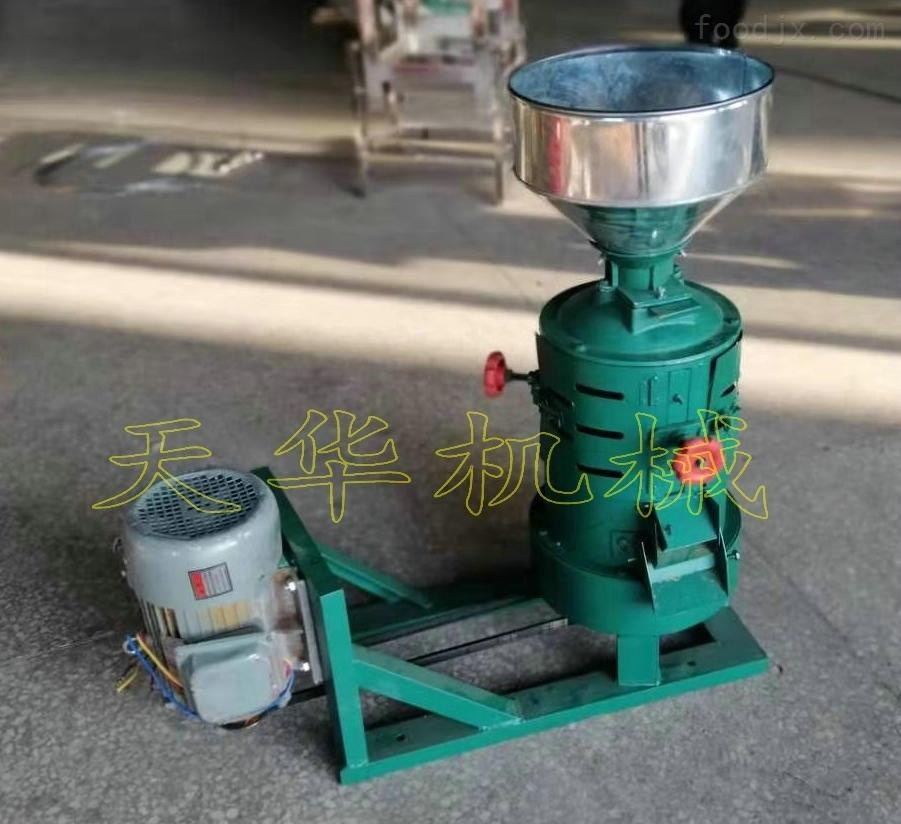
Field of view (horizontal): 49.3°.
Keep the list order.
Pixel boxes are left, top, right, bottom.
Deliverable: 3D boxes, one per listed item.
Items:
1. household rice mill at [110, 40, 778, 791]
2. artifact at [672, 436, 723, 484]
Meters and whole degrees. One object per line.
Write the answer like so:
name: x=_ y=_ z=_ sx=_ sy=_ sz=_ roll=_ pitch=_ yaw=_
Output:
household rice mill: x=0.054 y=0.060 z=2.814 sx=1.776 sy=1.962 sz=0.746 roll=-10 pitch=33 yaw=-9
artifact: x=0.679 y=0.129 z=2.697 sx=0.151 sy=0.120 sz=0.067 roll=-14 pitch=33 yaw=-17
